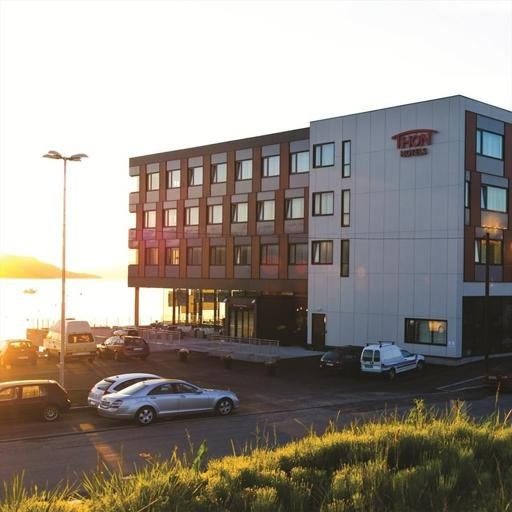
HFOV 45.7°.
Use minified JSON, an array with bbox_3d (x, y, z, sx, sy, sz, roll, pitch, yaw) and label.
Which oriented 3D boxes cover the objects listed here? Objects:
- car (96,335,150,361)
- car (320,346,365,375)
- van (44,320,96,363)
[{"bbox_3d":[-8.530,5.876,39.157,3.145,1.431,1.390,-4,-6,23],"label":"car"},{"bbox_3d":[4.810,5.779,33.764,2.366,1.317,0.961,3,-6,-30],"label":"car"},{"bbox_3d":[-11.473,5.114,37.862,2.143,2.677,3.832,1,1,-30],"label":"van"}]
